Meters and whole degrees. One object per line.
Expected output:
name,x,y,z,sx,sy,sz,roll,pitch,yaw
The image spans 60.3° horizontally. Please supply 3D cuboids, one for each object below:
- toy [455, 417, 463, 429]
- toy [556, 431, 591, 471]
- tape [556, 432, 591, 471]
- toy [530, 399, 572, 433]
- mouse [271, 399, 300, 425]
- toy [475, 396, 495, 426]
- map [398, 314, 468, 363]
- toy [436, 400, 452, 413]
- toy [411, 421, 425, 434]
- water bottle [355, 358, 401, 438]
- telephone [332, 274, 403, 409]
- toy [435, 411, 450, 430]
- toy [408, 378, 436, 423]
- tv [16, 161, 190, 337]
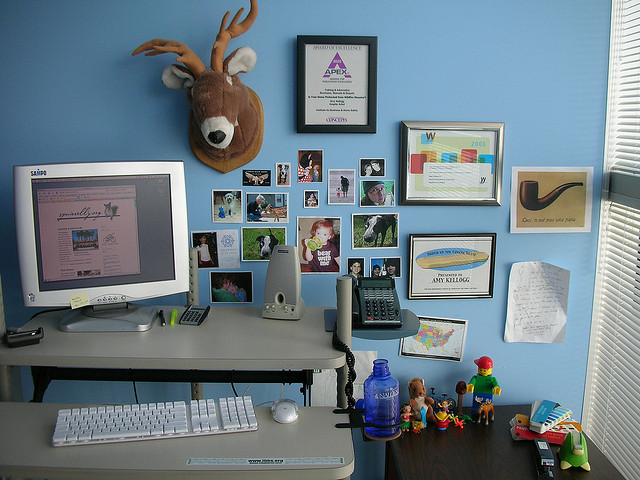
toy,0.623,0.821,2.471,0.027,0.011,0.037,-3,14,-14
toy,1.058,0.865,2.297,0.107,0.132,0.174,4,3,18
tape,1.057,0.865,2.295,0.109,0.123,0.166,4,5,18
toy,1.006,0.778,2.428,0.159,0.057,0.210,1,16,41
mouse,-0.126,0.601,1.946,0.100,0.059,0.094,-1,7,-5
toy,0.742,0.755,2.475,0.056,0.128,0.118,-3,-8,37
map,0.510,0.443,2.526,0.231,0.186,0.009,5,1,-2
toy,0.561,0.757,2.502,0.057,0.065,0.025,2,-24,2
toy,0.425,0.828,2.447,0.040,0.046,0.045,5,-33,15
water bottle,0.235,0.606,2.135,0.135,0.279,0.148,-2,5,0
telephone,0.164,0.414,2.218,0.233,0.557,0.263,2,15,-3
toy,0.537,0.798,2.443,0.062,0.074,0.064,1,1,10
toy,0.466,0.734,2.499,0.133,0.197,0.145,-3,-10,-1
tv,-0.872,0.026,2.187,0.574,0.640,0.276,-1,8,-8
